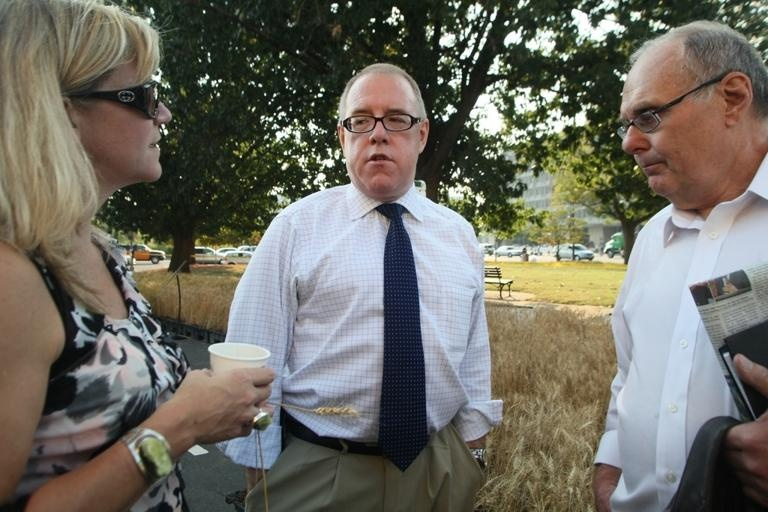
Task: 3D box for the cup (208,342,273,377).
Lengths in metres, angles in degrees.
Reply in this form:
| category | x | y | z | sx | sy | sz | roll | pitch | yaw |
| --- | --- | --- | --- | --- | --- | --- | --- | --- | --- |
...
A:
| category | x | y | z | sx | sy | sz | roll | pitch | yaw |
| --- | --- | --- | --- | --- | --- | --- | --- | --- | --- |
| cup | -0.755 | 0.512 | 2.976 | 0.176 | 0.238 | 0.309 | -1 | 6 | -3 |

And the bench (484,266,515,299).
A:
| category | x | y | z | sx | sy | sz | roll | pitch | yaw |
| --- | --- | --- | --- | --- | --- | --- | --- | --- | --- |
| bench | 4.249 | 1.151 | 22.389 | 0.604 | 1.134 | 1.866 | -11 | -9 | -21 |

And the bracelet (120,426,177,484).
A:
| category | x | y | z | sx | sy | sz | roll | pitch | yaw |
| --- | --- | --- | --- | --- | --- | --- | --- | --- | --- |
| bracelet | -1.049 | 0.878 | 2.542 | 0.190 | 0.250 | 0.059 | -35 | -3 | -30 |

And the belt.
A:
| category | x | y | z | sx | sy | sz | roll | pitch | yaw |
| --- | --- | --- | --- | --- | --- | --- | --- | --- | --- |
| belt | -0.278 | 0.995 | 3.214 | 0.709 | 0.184 | 0.192 | 7 | 19 | 18 |
